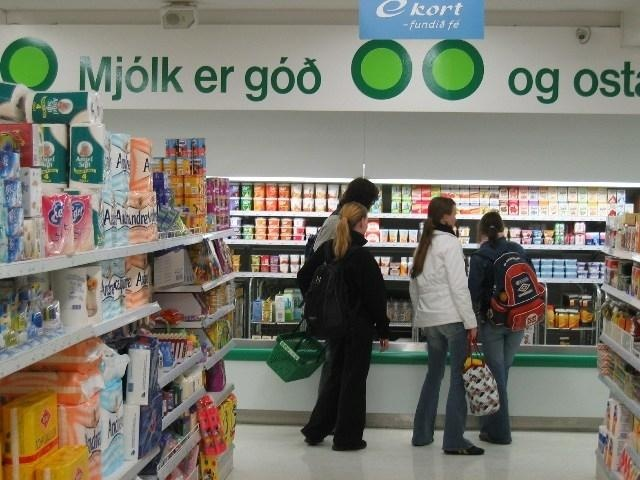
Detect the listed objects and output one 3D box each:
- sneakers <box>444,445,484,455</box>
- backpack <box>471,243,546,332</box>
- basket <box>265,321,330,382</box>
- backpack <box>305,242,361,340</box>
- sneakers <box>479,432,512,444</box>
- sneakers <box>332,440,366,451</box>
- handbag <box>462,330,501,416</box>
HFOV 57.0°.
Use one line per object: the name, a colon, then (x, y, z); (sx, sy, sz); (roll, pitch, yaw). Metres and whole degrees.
sneakers: (1.178, 1.710, 4.808); (0.333, 0.091, 0.069); (0, 6, 1)
backpack: (1.539, 0.361, 4.877); (0.582, 0.703, 0.338); (1, 5, 13)
basket: (-0.256, 0.919, 5.053); (0.287, 0.469, 0.335); (37, -10, 6)
backpack: (0.086, 0.447, 4.747); (0.360, 0.629, 0.386); (6, -5, -22)
sneakers: (1.525, 1.707, 5.098); (0.096, 0.104, 0.256); (5, -6, -39)
sneakers: (0.247, 1.708, 4.933); (0.272, 0.128, 0.103); (7, -5, -26)
handbag: (1.271, 1.100, 4.728); (0.226, 0.598, 0.238); (-6, -6, -39)
